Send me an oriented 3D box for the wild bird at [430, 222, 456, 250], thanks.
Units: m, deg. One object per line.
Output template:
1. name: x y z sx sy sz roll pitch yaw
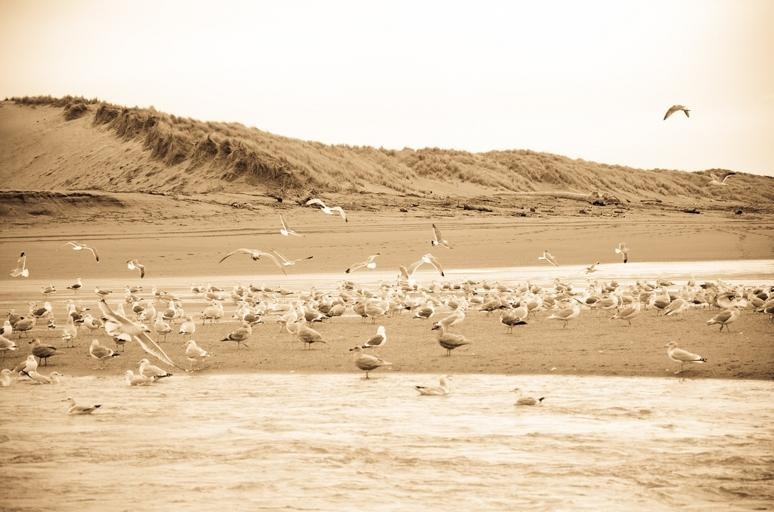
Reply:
1. wild bird: 2.609 -0.908 51.849 1.184 0.447 1.737 -2 33 -17

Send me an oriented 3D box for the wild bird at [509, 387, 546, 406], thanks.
1. wild bird: 3.649 3.790 29.775 1.061 0.297 0.298 5 25 34

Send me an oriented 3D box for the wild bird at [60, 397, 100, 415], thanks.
1. wild bird: -8.070 4.064 29.632 1.213 0.468 0.370 0 -4 3
